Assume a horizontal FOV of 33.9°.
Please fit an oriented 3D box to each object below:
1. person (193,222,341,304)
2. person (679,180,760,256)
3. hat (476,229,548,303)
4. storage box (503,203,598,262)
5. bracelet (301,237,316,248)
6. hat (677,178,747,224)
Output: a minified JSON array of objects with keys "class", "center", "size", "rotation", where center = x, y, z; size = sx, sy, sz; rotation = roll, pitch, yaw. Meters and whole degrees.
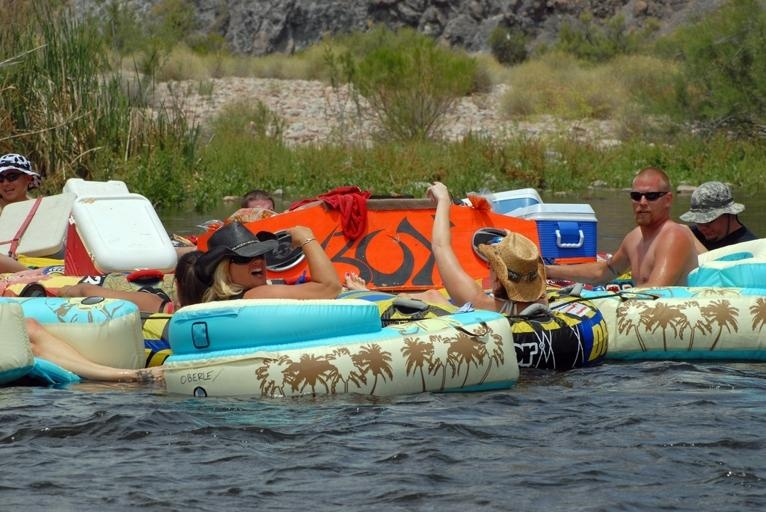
[{"class":"person","center":[-1.251,0.147,13.454],"size":[1.522,0.618,1.037],"rotation":[0,-1,7]},{"class":"person","center":[3.944,-0.518,15.036],"size":[0.902,0.711,0.711],"rotation":[-18,14,-23]},{"class":"hat","center":[1.340,0.079,13.089],"size":[0.847,0.398,0.584],"rotation":[27,-45,-27]},{"class":"storage box","center":[1.873,-0.247,16.166],"size":[1.058,0.769,1.393],"rotation":[-2,1,-41]},{"class":"bracelet","center":[-0.803,-0.134,13.463],"size":[0.107,0.028,0.107],"rotation":[-30,1,-1]},{"class":"hat","center":[3.911,-0.668,14.963],"size":[0.721,0.330,0.669],"rotation":[-25,20,-38]}]
